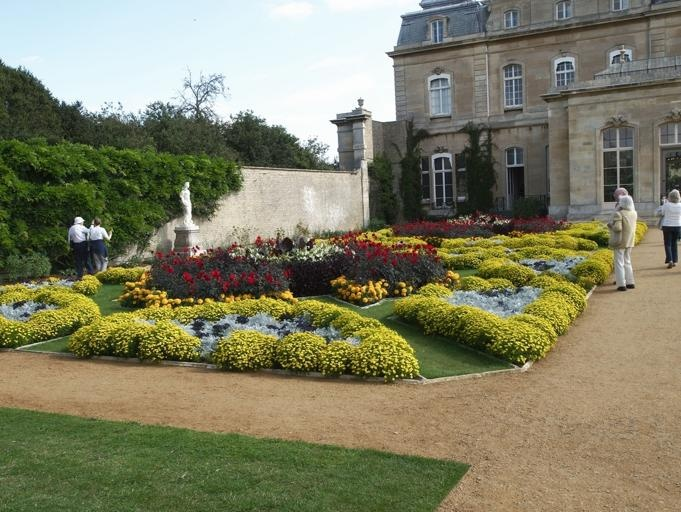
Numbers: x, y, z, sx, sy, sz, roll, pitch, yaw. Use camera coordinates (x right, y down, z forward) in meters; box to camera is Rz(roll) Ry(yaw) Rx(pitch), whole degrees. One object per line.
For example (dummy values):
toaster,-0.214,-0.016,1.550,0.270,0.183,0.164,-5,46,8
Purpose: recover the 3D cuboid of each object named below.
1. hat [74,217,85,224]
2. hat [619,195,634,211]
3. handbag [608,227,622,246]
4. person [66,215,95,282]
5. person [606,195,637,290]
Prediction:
hat,-5.915,-0.815,16.439,0.190,0.097,0.199,2,8,28
hat,5.257,-0.981,13.212,0.209,0.304,0.296,-2,4,-14
handbag,4.921,-0.326,12.906,0.109,0.320,0.262,-6,16,-25
person,-5.969,-0.180,16.606,0.498,1.475,1.162,-5,16,-20
person,5.128,-0.232,13.069,0.550,1.653,0.862,7,16,22
